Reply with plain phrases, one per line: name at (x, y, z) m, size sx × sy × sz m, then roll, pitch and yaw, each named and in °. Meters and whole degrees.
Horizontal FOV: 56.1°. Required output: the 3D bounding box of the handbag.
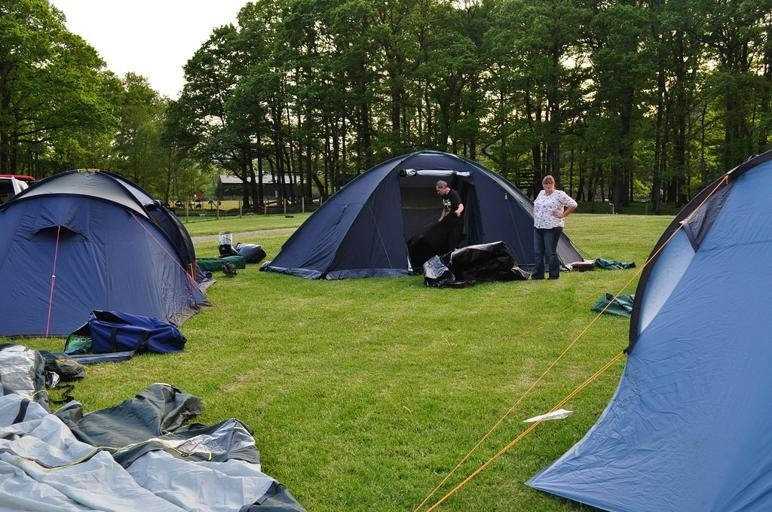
handbag at (-4.162, 1.297, 11.988) m, size 1.086 × 0.355 × 0.828 m, roll 3°, pitch 12°, yaw -18°
